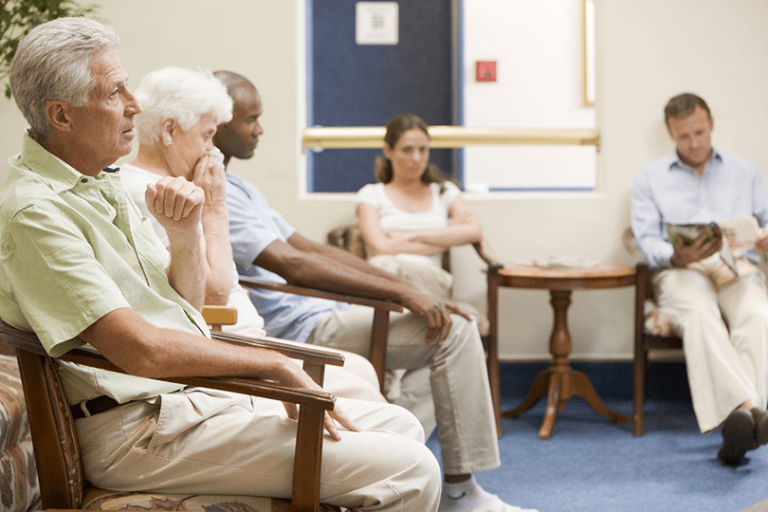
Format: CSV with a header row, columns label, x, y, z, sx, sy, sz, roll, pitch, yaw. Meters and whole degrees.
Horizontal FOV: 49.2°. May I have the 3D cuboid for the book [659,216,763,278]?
label,x,y,z,sx,sy,sz,roll,pitch,yaw
book,0.576,-0.009,1.448,0.123,0.110,0.040,-1,17,0

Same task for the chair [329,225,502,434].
label,x,y,z,sx,sy,sz,roll,pitch,yaw
chair,0.105,0.126,1.673,0.320,0.529,0.327,-1,1,9

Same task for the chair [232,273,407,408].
label,x,y,z,sx,sy,sz,roll,pitch,yaw
chair,-0.084,0.153,1.653,0.204,0.343,0.205,1,2,10
